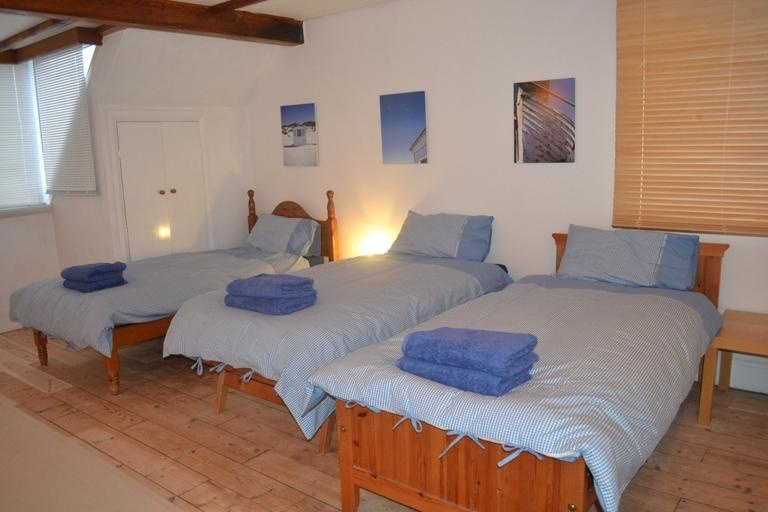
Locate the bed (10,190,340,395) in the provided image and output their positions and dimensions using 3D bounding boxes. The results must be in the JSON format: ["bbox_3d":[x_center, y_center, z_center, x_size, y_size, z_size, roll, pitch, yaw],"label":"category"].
[{"bbox_3d":[-2.033,0.073,5.617,1.574,1.535,2.926,10,14,33],"label":"bed"}]

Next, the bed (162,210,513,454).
[{"bbox_3d":[-0.265,0.330,4.760,1.966,1.203,3.145,5,12,37],"label":"bed"}]

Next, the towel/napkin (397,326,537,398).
[{"bbox_3d":[0.490,0.472,2.699,0.429,0.136,0.426,4,6,34],"label":"towel/napkin"}]

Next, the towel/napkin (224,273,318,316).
[{"bbox_3d":[-0.894,0.280,3.835,0.693,0.248,0.297,5,11,11],"label":"towel/napkin"}]
